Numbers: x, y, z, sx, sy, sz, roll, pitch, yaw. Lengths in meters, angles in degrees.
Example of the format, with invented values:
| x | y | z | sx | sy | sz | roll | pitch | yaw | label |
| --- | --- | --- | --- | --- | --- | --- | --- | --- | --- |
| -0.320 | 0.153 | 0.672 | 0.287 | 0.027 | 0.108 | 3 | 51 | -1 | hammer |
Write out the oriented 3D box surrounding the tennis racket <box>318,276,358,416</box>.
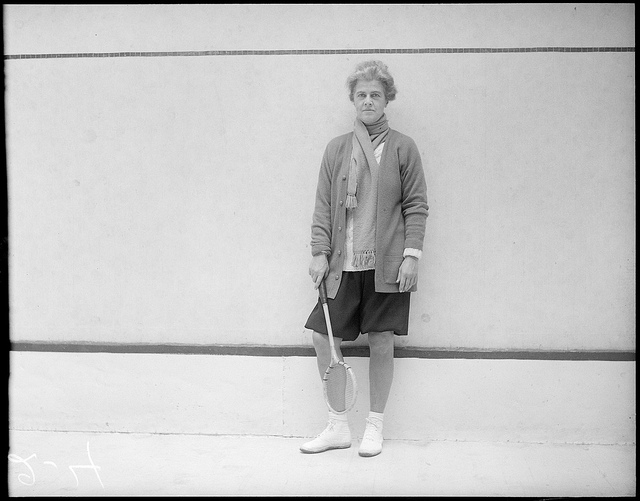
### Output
| x | y | z | sx | sy | sz | roll | pitch | yaw | label |
| --- | --- | --- | --- | --- | --- | --- | --- | --- | --- |
| 0.101 | 0.566 | 5.402 | 0.269 | 0.767 | 0.372 | 2 | 13 | 4 | tennis racket |

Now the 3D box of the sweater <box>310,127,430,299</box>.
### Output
| x | y | z | sx | sy | sz | roll | pitch | yaw | label |
| --- | --- | --- | --- | --- | --- | --- | --- | --- | --- |
| 0.306 | -0.228 | 5.430 | 0.867 | 1.397 | 0.431 | 1 | 1 | 8 | sweater |

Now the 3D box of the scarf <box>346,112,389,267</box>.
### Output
| x | y | z | sx | sy | sz | roll | pitch | yaw | label |
| --- | --- | --- | --- | --- | --- | --- | --- | --- | --- |
| 0.266 | -0.373 | 5.423 | 0.263 | 0.848 | 0.309 | 5 | 13 | 16 | scarf |

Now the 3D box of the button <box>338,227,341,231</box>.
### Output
| x | y | z | sx | sy | sz | roll | pitch | yaw | label |
| --- | --- | --- | --- | --- | --- | --- | --- | --- | --- |
| 0.118 | -0.138 | 5.436 | 0.019 | 0.023 | 0.005 | 3 | -1 | 11 | button |

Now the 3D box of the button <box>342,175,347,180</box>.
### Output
| x | y | z | sx | sy | sz | roll | pitch | yaw | label |
| --- | --- | --- | --- | --- | --- | --- | --- | --- | --- |
| 0.146 | -0.442 | 5.427 | 0.022 | 0.031 | 0.023 | 7 | -8 | -15 | button |

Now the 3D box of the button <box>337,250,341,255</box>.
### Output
| x | y | z | sx | sy | sz | roll | pitch | yaw | label |
| --- | --- | --- | --- | --- | --- | --- | --- | --- | --- |
| 0.115 | 0.006 | 5.427 | 0.022 | 0.026 | 0.006 | 1 | -1 | 12 | button |

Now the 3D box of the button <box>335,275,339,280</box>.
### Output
| x | y | z | sx | sy | sz | roll | pitch | yaw | label |
| --- | --- | --- | --- | --- | --- | --- | --- | --- | --- |
| 0.100 | 0.155 | 5.417 | 0.023 | 0.026 | 0.006 | -2 | -2 | 31 | button |
